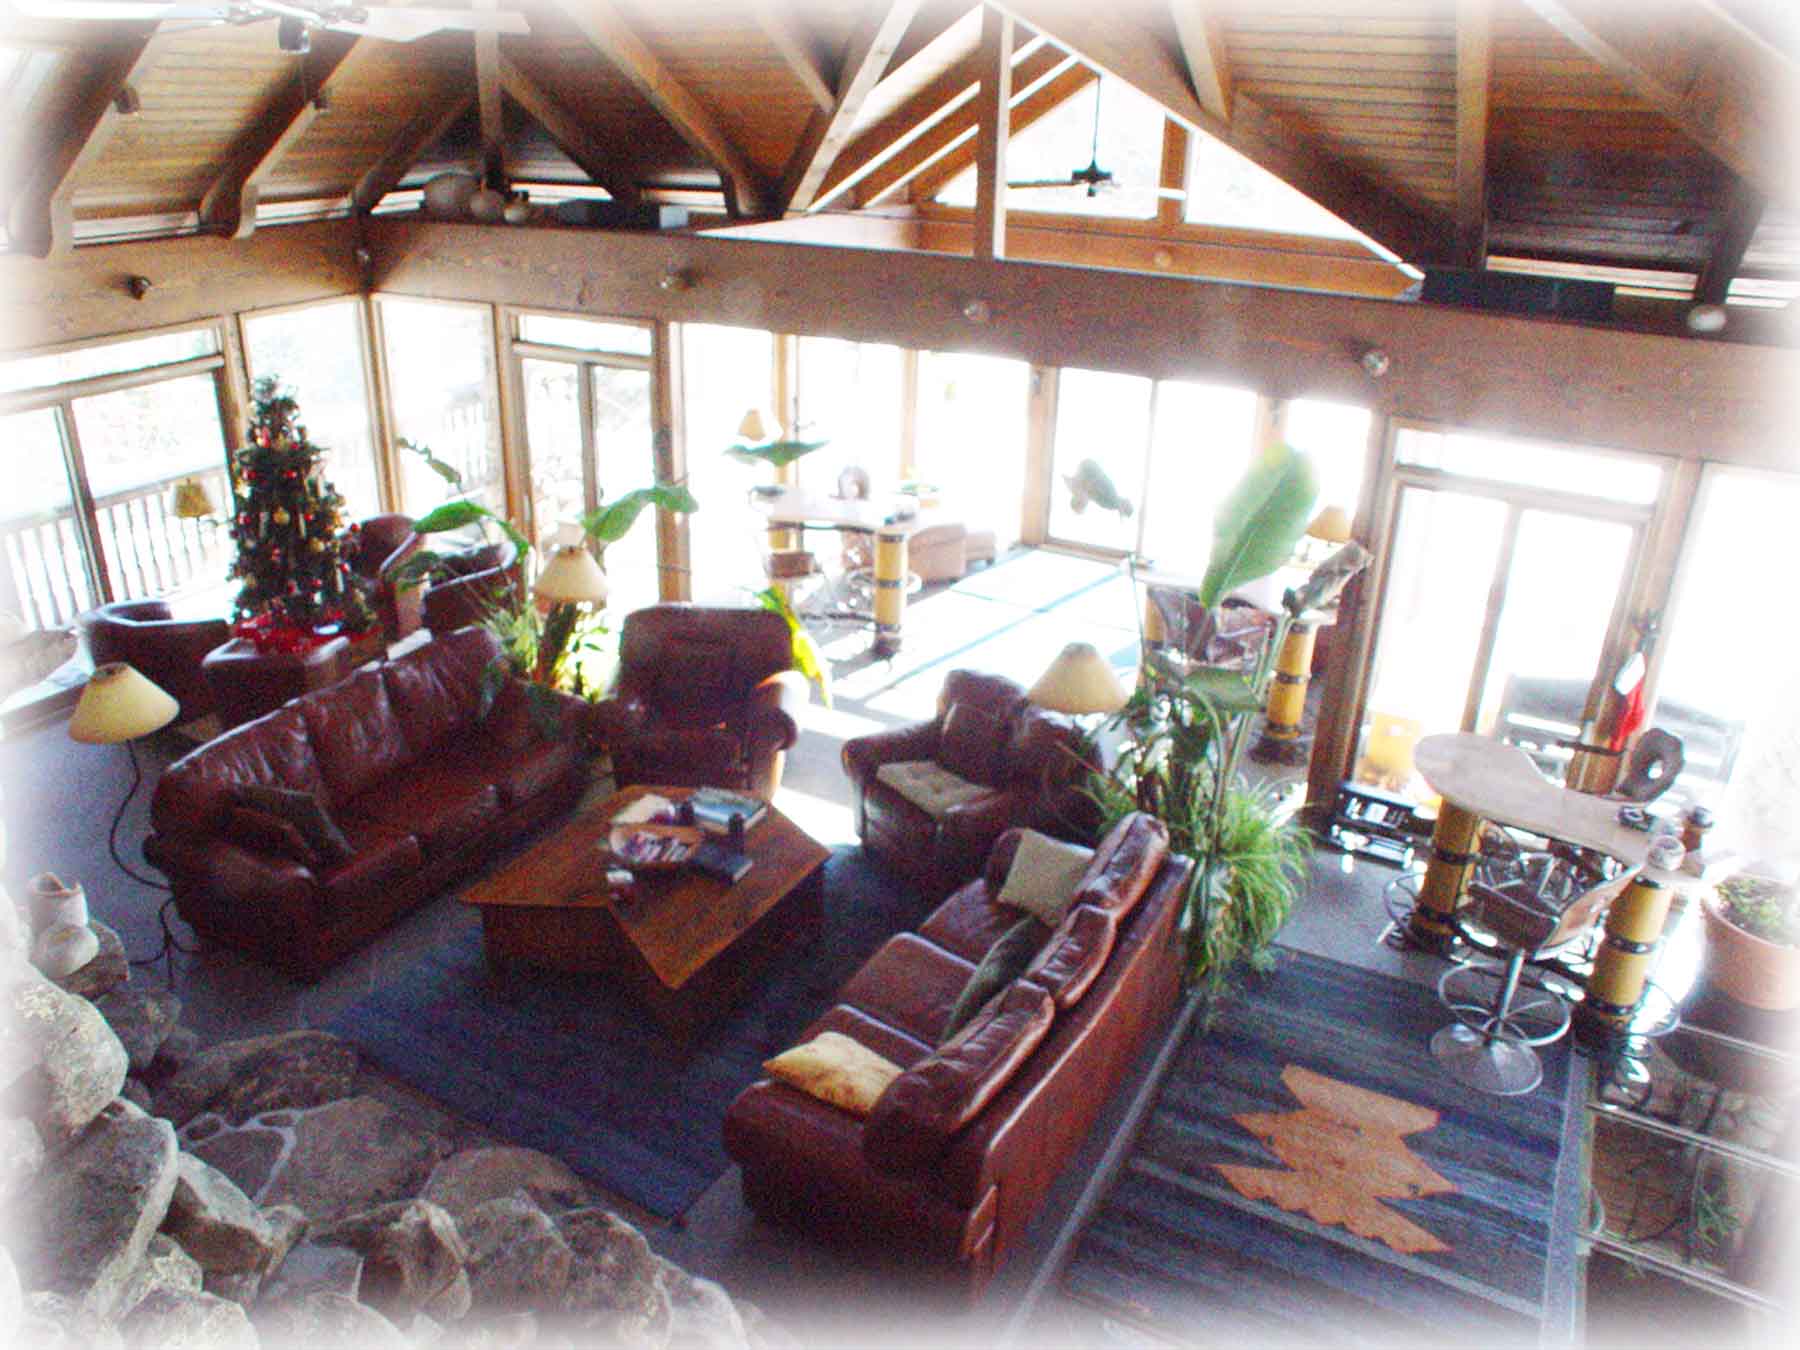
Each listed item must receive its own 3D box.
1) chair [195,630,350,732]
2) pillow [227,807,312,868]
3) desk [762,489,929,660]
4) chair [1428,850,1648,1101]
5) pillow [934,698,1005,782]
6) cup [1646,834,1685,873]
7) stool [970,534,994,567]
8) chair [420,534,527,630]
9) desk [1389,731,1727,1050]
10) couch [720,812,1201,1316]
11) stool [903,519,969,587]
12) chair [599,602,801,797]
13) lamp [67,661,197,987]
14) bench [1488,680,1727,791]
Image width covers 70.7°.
[{"bbox_3d":[-4.355,-0.039,8.841,0.718,0.532,0.709,-17,25,-36],"label":"chair"},{"bbox_3d":[-3.544,0.910,7.123,0.483,0.298,0.181,9,16,13],"label":"pillow"},{"bbox_3d":[-0.634,-0.927,11.712,1.921,1.059,1.933,7,6,16],"label":"desk"},{"bbox_3d":[3.512,1.673,6.942,0.695,1.304,0.696,-22,38,-27],"label":"chair"},{"bbox_3d":[0.458,0.412,8.200,0.468,0.440,0.368,17,12,37],"label":"pillow"},{"bbox_3d":[3.942,0.933,6.610,0.177,0.124,0.178,-4,23,2],"label":"cup"},{"bbox_3d":[0.854,-1.333,13.447,0.289,0.294,0.296,3,7,1],"label":"stool"},{"bbox_3d":[-3.293,-0.685,9.972,0.751,0.727,0.741,-9,18,-41],"label":"chair"},{"bbox_3d":[3.308,1.474,6.734,0.826,1.410,0.768,-5,25,-25],"label":"desk"},{"bbox_3d":[0.395,1.678,6.352,1.382,1.779,2.452,14,17,27],"label":"couch"},{"bbox_3d":[0.389,-1.217,12.896,0.531,0.506,0.674,5,14,26],"label":"stool"},{"bbox_3d":[-1.332,0.308,9.002,1.602,1.538,1.204,1,14,1],"label":"chair"},{"bbox_3d":[-4.595,0.940,7.605,0.639,2.133,0.607,-2,44,-22],"label":"lamp"},{"bbox_3d":[4.431,0.369,7.875,1.251,0.657,0.264,11,4,36],"label":"bench"}]
